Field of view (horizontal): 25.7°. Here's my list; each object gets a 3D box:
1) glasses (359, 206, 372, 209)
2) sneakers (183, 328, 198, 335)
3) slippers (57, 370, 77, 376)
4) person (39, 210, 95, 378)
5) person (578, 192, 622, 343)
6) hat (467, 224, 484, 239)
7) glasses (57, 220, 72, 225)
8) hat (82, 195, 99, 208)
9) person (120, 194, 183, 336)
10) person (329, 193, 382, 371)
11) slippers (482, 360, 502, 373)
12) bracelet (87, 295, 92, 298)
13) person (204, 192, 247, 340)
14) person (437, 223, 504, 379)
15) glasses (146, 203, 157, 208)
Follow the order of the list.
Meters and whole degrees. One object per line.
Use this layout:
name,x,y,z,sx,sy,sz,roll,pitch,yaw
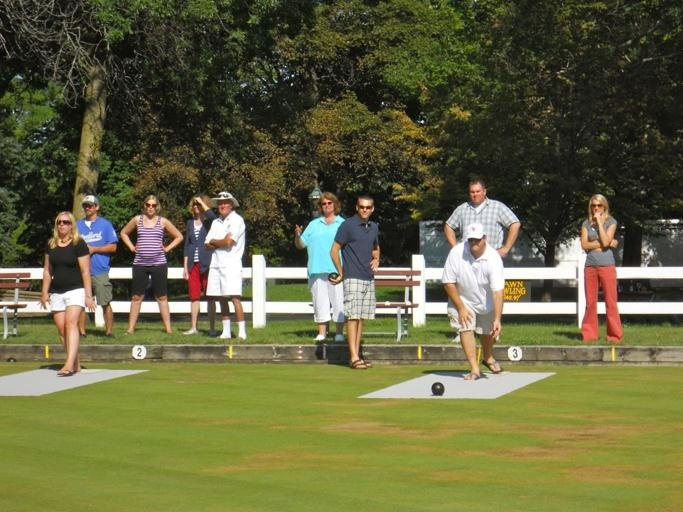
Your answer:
glasses,0.477,-0.933,29.199,0.225,0.075,0.071,1,-5,-28
sneakers,-3.235,1.644,32.250,0.343,0.152,0.119,0,-1,4
slippers,-5.237,2.259,28.786,0.128,0.077,0.236,-3,-8,25
person,-5.219,0.733,28.630,0.861,3.135,0.802,-5,-6,40
person,5.217,0.262,30.571,0.779,3.028,0.836,-2,-4,8
hat,2.436,-0.439,27.665,0.358,0.301,0.277,-2,-4,13
glasses,-5.249,-0.630,28.520,0.249,0.087,0.107,0,-4,-12
hat,-5.227,-1.145,31.374,0.233,0.177,0.342,0,-8,12
person,-4.057,0.196,31.813,1.350,2.922,0.752,-2,-4,15
person,0.279,0.537,29.408,0.826,3.347,0.715,-2,-4,15
slippers,2.820,2.130,28.746,0.185,0.143,0.432,-3,19,-40
bracelet,-4.802,0.779,28.581,0.055,0.063,0.062,6,7,36
person,-2.413,0.199,31.309,0.835,3.134,0.861,-1,-4,-6
person,2.527,0.884,28.049,1.101,2.867,1.213,-3,-5,27
glasses,-3.988,-1.060,31.691,0.202,0.083,0.078,2,-5,-35
